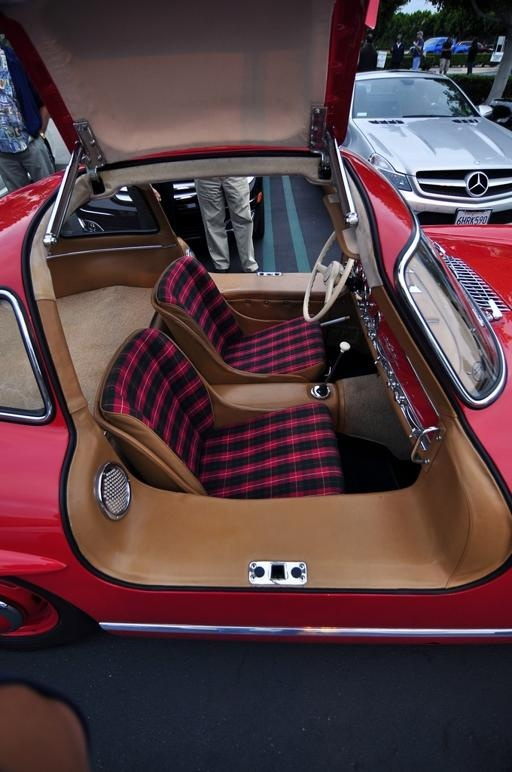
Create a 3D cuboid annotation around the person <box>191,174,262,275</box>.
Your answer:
[{"bbox_3d":[-0.227,-1.257,3.944,0.401,0.253,1.320,-1,44,-6],"label":"person"}]

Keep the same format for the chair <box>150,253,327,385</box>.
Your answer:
[{"bbox_3d":[-0.042,-0.364,2.542,0.770,0.605,0.556,-9,48,5],"label":"chair"}]
